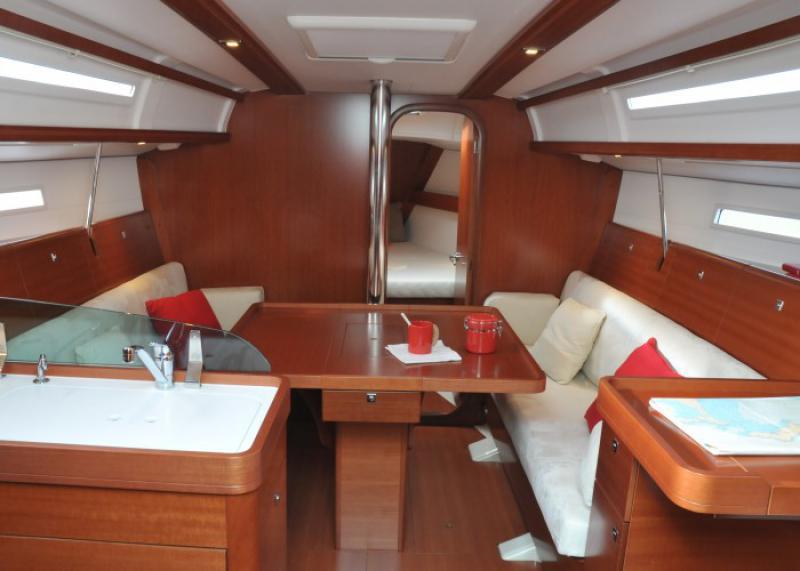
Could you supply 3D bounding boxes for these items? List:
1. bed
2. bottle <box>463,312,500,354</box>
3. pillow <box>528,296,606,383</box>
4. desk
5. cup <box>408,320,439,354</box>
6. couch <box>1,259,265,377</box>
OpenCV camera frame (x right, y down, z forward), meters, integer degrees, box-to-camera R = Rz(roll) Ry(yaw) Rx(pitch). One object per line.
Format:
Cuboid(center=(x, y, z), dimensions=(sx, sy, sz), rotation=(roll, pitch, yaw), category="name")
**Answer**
Cuboid(center=(0.263, -0.397, 5.667), dimensions=(0.715, 0.969, 2.860), rotation=(4, 6, -2), category="bed")
Cuboid(center=(0.386, 0.223, 2.617), dimensions=(0.169, 0.186, 0.194), rotation=(0, 11, 2), category="bottle")
Cuboid(center=(1.020, 0.340, 3.351), dimensions=(0.153, 0.485, 0.499), rotation=(21, 9, -20), category="pillow")
Cuboid(center=(-0.052, 0.581, 2.678), dimensions=(1.207, 0.758, 1.212), rotation=(2, 10, 0), category="desk")
Cuboid(center=(0.101, 0.234, 2.519), dimensions=(0.145, 0.122, 0.108), rotation=(1, 3, -8), category="cup")
Cuboid(center=(-1.200, 0.164, 2.931), dimensions=(0.918, 0.434, 2.274), rotation=(2, 6, -16), category="couch")
